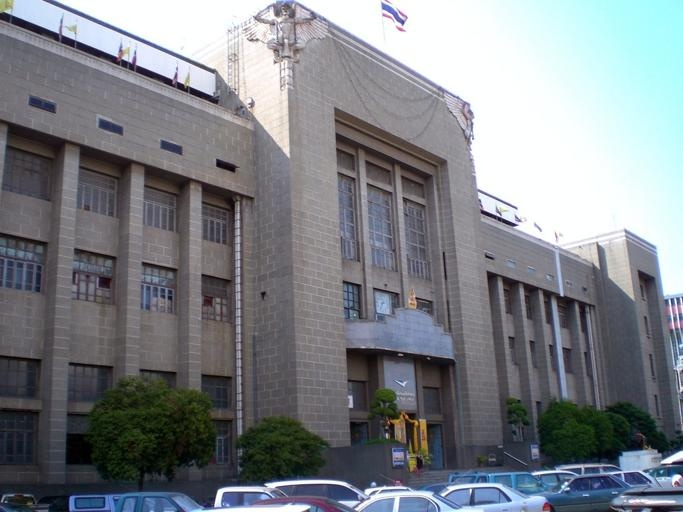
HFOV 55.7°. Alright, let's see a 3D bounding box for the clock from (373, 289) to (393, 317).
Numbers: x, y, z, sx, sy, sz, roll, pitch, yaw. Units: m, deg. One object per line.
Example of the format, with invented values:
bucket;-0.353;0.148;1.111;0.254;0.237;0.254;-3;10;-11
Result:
clock;3.144;3.612;49.816;0.066;1.371;1.841;-12;-16;34
